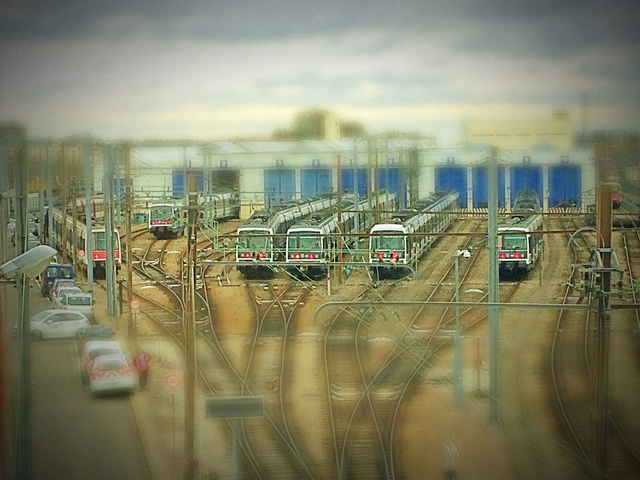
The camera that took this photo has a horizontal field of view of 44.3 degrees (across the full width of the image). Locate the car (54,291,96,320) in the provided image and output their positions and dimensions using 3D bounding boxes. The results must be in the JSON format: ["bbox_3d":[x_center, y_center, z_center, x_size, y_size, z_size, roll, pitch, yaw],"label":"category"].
[{"bbox_3d":[-9.124,2.588,29.634,0.854,0.844,1.535,-1,11,-16],"label":"car"}]

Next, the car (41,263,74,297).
[{"bbox_3d":[-10.954,1.736,32.705,1.453,1.458,2.242,-1,6,-10],"label":"car"}]

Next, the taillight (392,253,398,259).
[{"bbox_3d":[3.217,0.695,33.501,0.217,0.251,0.037,1,12,0],"label":"taillight"}]

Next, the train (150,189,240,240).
[{"bbox_3d":[-7.435,-1.787,49.230,1.792,2.180,10.055,1,9,20],"label":"train"}]

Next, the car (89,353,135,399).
[{"bbox_3d":[-6.257,3.894,23.242,1.325,1.163,2.434,-3,4,-22],"label":"car"}]

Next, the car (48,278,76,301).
[{"bbox_3d":[-11.075,2.212,33.597,0.834,0.890,1.527,0,9,-13],"label":"car"}]

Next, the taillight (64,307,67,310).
[{"bbox_3d":[-9.497,2.561,29.215,0.086,0.094,0.088,-1,-6,-4],"label":"taillight"}]

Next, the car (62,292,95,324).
[{"bbox_3d":[-9.083,2.536,29.637,0.868,0.898,1.633,-2,9,-11],"label":"car"}]

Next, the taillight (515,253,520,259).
[{"bbox_3d":[8.675,0.702,34.403,0.191,0.224,0.035,2,12,8],"label":"taillight"}]

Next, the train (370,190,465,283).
[{"bbox_3d":[5.212,-0.539,40.768,2.176,3.360,21.915,0,6,11],"label":"train"}]

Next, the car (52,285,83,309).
[{"bbox_3d":[-10.136,2.378,30.997,0.741,0.738,1.584,-1,8,-13],"label":"car"}]

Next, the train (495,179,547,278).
[{"bbox_3d":[10.077,-0.231,39.942,3.146,3.825,14.145,0,7,12],"label":"train"}]

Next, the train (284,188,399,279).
[{"bbox_3d":[0.502,-0.295,36.035,1.994,2.703,17.229,0,6,9],"label":"train"}]

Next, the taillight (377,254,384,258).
[{"bbox_3d":[2.609,0.687,33.454,0.141,0.156,0.038,-1,5,-18],"label":"taillight"}]

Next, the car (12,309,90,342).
[{"bbox_3d":[-9.086,2.923,27.116,1.853,0.892,1.129,2,0,-11],"label":"car"}]

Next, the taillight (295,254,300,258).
[{"bbox_3d":[-0.967,0.718,34.331,0.139,0.135,0.060,0,12,-1],"label":"taillight"}]

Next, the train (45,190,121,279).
[{"bbox_3d":[-10.668,-0.116,35.381,2.394,4.503,14.658,-3,8,-20],"label":"train"}]

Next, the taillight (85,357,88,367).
[{"bbox_3d":[-6.822,3.560,22.865,0.066,0.271,0.187,-7,14,-31],"label":"taillight"}]
